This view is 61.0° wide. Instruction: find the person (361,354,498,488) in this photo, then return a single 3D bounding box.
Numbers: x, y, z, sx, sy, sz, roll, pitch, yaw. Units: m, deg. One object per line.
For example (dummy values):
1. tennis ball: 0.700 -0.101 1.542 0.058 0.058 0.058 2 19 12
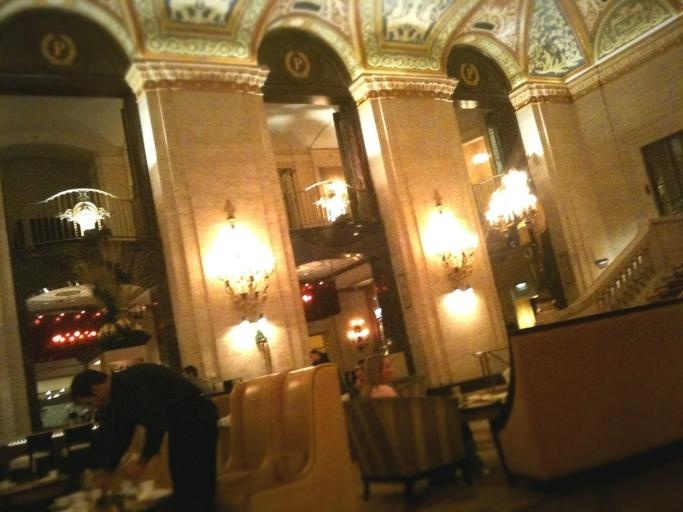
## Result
1. person: 0.482 1.681 5.448 0.984 1.093 1.068 -24 -26 21
